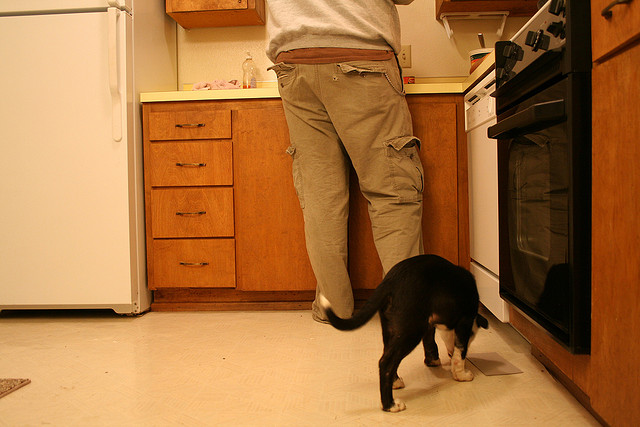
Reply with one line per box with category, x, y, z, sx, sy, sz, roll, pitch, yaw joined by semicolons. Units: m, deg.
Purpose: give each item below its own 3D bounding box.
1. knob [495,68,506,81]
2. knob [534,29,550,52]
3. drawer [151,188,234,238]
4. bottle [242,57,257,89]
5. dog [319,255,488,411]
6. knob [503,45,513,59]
knob;0.715;-0.551;1.938;0.042;0.055;0.076;0;10;6
knob;0.740;-0.580;1.653;0.059;0.049;0.071;13;30;17
drawer;-0.687;-0.001;2.512;0.318;0.173;0.311;0;1;0
bottle;-0.424;-0.850;2.947;0.096;0.200;0.401;-4;13;-8
dog;0.338;0.402;1.773;0.847;0.470;0.249;0;0;-39
knob;0.721;-0.618;1.880;0.021;0.054;0.077;0;13;8
